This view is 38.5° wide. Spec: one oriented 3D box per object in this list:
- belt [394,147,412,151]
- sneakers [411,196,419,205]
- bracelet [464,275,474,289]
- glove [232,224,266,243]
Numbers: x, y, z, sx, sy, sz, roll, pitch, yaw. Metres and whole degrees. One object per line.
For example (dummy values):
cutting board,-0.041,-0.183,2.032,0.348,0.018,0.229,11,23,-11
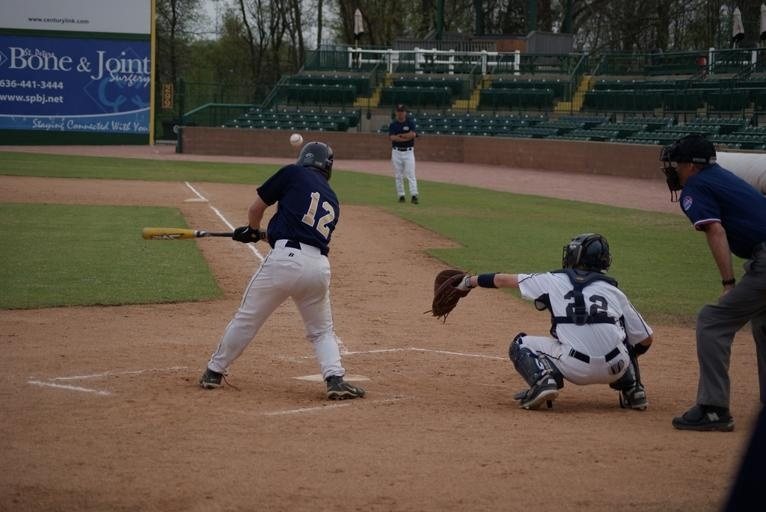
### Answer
belt,0.507,-2.944,30.259,0.506,0.125,0.201,3,12,5
sneakers,0.904,-1.590,31.151,0.121,0.218,0.324,5,15,16
bracelet,1.417,0.425,18.209,0.132,0.194,0.206,24,0,16
glove,-2.273,-0.385,18.557,0.446,0.139,0.310,3,7,-16
